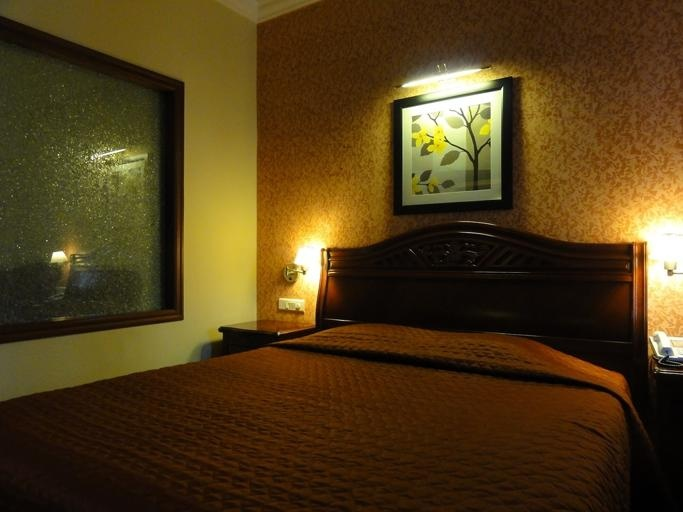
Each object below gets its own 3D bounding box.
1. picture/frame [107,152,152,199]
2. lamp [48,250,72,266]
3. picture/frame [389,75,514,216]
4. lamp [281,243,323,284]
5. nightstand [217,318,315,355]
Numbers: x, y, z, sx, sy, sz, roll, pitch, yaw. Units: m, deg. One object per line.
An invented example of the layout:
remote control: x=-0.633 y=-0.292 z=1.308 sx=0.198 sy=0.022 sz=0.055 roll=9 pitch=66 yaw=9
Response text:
picture/frame: x=-1.444 y=-0.555 z=3.246 sx=0.035 sy=0.356 sz=0.362 roll=8 pitch=4 yaw=37
lamp: x=-1.704 y=0.009 z=2.917 sx=0.076 sy=0.071 sz=0.076 roll=-1 pitch=-5 yaw=4
picture/frame: x=0.748 y=-0.728 z=3.167 sx=1.025 sy=0.963 sz=0.076 roll=0 pitch=1 yaw=30
lamp: x=-0.307 y=0.059 z=3.748 sx=0.323 sy=0.383 sz=0.269 roll=-3 pitch=-7 yaw=40
nightstand: x=-0.529 y=0.571 z=3.580 sx=0.361 sy=0.395 sz=0.401 roll=1 pitch=-1 yaw=36
